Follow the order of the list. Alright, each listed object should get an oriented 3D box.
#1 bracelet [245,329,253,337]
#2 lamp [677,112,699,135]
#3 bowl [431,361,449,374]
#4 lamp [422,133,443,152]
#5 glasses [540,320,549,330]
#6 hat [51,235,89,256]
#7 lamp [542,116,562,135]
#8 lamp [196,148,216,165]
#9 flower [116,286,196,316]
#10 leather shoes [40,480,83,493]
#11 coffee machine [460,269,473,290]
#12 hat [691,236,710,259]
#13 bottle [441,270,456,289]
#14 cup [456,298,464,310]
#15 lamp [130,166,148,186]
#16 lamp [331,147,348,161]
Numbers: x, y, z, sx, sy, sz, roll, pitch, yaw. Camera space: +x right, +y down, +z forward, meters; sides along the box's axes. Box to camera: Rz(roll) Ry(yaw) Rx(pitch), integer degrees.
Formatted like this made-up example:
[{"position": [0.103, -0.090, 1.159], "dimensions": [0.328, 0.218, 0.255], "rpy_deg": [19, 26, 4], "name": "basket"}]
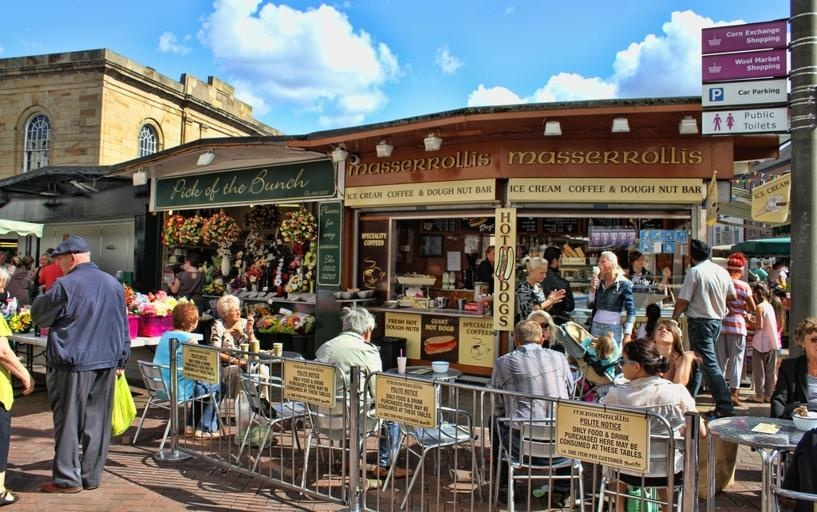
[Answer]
[{"position": [-2.437, 1.202, 12.018], "dimensions": [0.144, 0.049, 0.139], "rpy_deg": [1, 3, 1], "name": "bracelet"}, {"position": [4.536, -2.142, 12.661], "dimensions": [0.301, 0.272, 0.295], "rpy_deg": [2, 9, 14], "name": "lamp"}, {"position": [0.447, 1.615, 11.254], "dimensions": [0.201, 0.105, 0.199], "rpy_deg": [-2, -2, 0], "name": "bowl"}, {"position": [0.433, -2.009, 13.716], "dimensions": [0.282, 0.268, 0.271], "rpy_deg": [-1, -6, 19], "name": "lamp"}, {"position": [1.926, 0.977, 11.044], "dimensions": [0.113, 0.097, 0.085], "rpy_deg": [0, -6, 18], "name": "glasses"}, {"position": [-4.563, -0.128, 10.493], "dimensions": [0.486, 0.272, 0.340], "rpy_deg": [6, -3, -2], "name": "hat"}, {"position": [2.378, -2.158, 12.905], "dimensions": [0.261, 0.249, 0.344], "rpy_deg": [2, -5, 8], "name": "lamp"}, {"position": [-4.011, -1.997, 15.756], "dimensions": [0.355, 0.317, 0.093], "rpy_deg": [0, -13, 32], "name": "lamp"}, {"position": [-4.267, 0.792, 12.925], "dimensions": [0.838, 0.298, 0.786], "rpy_deg": [2, -2, 38], "name": "flower"}, {"position": [-4.557, 3.069, 10.256], "dimensions": [0.462, 0.189, 0.182], "rpy_deg": [1, -4, -5], "name": "leather shoes"}, {"position": [1.149, 0.434, 15.263], "dimensions": [0.236, 0.410, 0.432], "rpy_deg": [3, -5, 3], "name": "coffee machine"}, {"position": [4.494, -0.113, 12.053], "dimensions": [0.242, 0.183, 0.331], "rpy_deg": [8, -28, 20], "name": "hat"}, {"position": [0.778, 0.452, 14.963], "dimensions": [0.290, 0.481, 0.347], "rpy_deg": [-1, -4, 11], "name": "bottle"}, {"position": [0.964, 0.895, 14.324], "dimensions": [0.152, 0.170, 0.173], "rpy_deg": [0, -9, 9], "name": "cup"}, {"position": [-6.081, -1.852, 17.663], "dimensions": [0.380, 0.353, 0.122], "rpy_deg": [-1, 23, 25], "name": "lamp"}, {"position": [-1.318, -1.947, 14.714], "dimensions": [0.263, 0.231, 0.265], "rpy_deg": [4, 10, 26], "name": "lamp"}]
